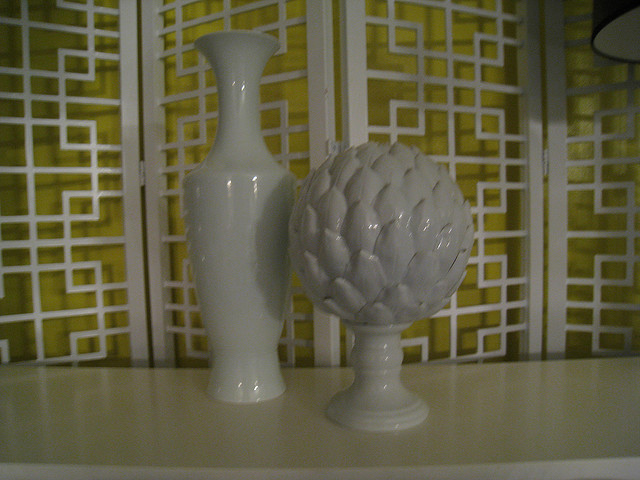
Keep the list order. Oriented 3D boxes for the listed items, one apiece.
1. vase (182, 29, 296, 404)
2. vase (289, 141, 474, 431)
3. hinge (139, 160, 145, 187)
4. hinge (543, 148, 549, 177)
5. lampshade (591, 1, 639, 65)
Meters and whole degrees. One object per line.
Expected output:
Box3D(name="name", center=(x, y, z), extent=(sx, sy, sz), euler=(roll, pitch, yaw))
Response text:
Box3D(name="vase", center=(-0.153, -0.040, 1.261), extent=(0.217, 0.709, 0.109), euler=(-1, 3, 6))
Box3D(name="vase", center=(0.111, 0.094, 1.285), extent=(0.350, 0.509, 0.329), euler=(3, 1, 24))
Box3D(name="hinge", center=(-0.493, -0.185, 1.829), extent=(0.019, 0.073, 0.006), euler=(0, 4, 35))
Box3D(name="hinge", center=(0.607, -0.211, 1.773), extent=(0.015, 0.074, 0.008), euler=(-1, 3, 18))
Box3D(name="lampshade", center=(0.631, -0.436, 1.466), extent=(0.133, 0.138, 0.136), euler=(3, 2, 20))
